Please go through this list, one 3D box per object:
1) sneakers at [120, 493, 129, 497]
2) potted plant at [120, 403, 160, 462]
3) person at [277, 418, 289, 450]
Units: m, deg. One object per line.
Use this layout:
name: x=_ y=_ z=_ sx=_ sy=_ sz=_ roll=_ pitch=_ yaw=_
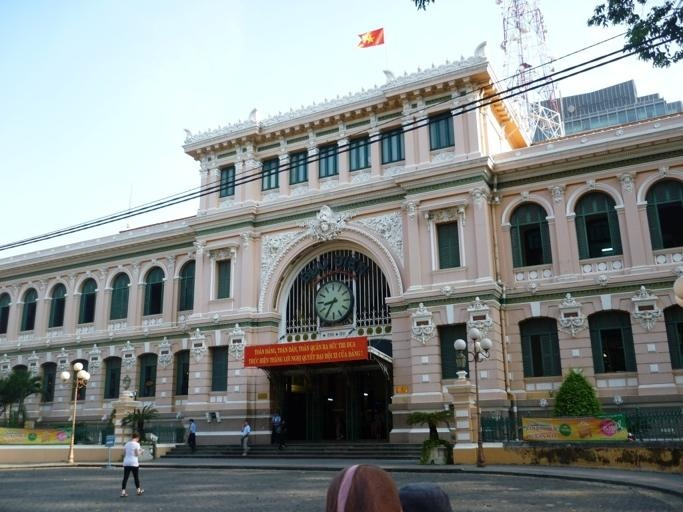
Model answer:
sneakers: x=-6.737 y=7.402 z=18.667 sx=0.109 sy=0.122 sz=0.296 roll=-6 pitch=-13 yaw=16
potted plant: x=-11.259 y=9.803 z=33.479 sx=1.560 sy=2.467 sz=1.734 roll=-5 pitch=-9 yaw=27
person: x=-3.281 y=9.724 z=32.722 sx=0.438 sy=1.561 sz=1.182 roll=-1 pitch=-16 yaw=-7
